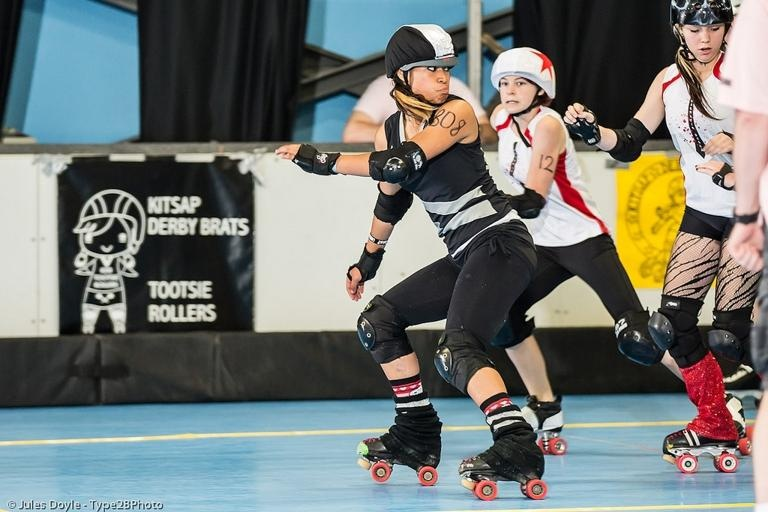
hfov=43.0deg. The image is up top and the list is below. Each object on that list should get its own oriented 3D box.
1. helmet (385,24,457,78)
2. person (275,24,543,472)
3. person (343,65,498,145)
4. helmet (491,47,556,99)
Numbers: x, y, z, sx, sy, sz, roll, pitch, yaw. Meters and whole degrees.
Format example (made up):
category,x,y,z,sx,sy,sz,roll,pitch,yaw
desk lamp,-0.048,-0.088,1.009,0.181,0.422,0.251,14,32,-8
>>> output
category,x,y,z,sx,sy,sz,roll,pitch,yaw
helmet,0.199,-1.146,5.420,0.399,0.287,0.464,-13,11,-34
person,0.272,-0.034,5.261,1.163,2.437,0.529,0,5,2
person,0.240,-0.990,6.411,0.965,0.371,0.546,-5,26,-2
helmet,0.870,-1.160,6.165,0.389,0.355,0.460,1,3,34
